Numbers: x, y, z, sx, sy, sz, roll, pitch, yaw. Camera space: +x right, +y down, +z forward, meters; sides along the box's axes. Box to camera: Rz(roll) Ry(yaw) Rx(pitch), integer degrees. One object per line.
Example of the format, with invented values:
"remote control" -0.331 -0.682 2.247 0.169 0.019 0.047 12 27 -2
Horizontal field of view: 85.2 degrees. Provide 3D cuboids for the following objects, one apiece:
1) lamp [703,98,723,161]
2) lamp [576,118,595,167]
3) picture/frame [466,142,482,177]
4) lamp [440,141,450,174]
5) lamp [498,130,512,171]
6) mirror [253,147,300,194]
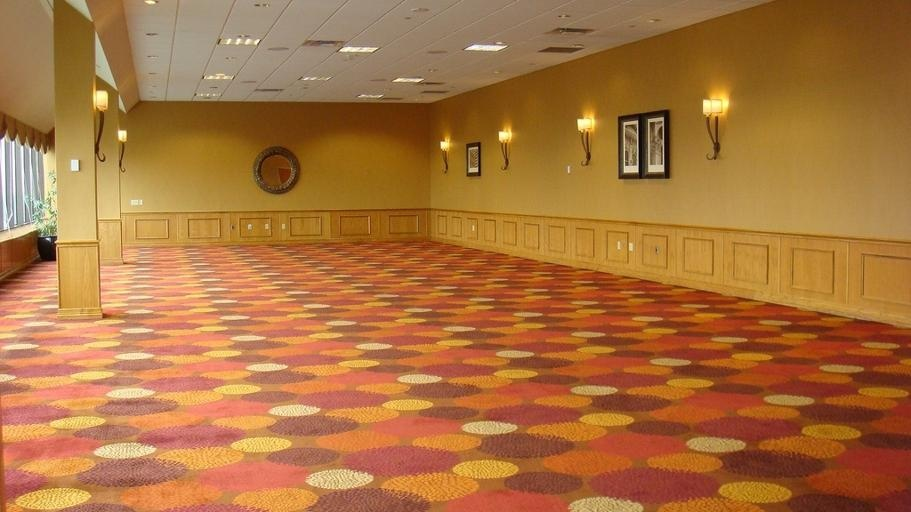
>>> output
"lamp" 5.403 -2.712 10.460 0.382 1.336 0.470 -7 10 -39
"lamp" 3.460 -3.131 13.500 0.313 1.339 0.539 -4 8 -22
"picture/frame" 0.643 -3.603 18.474 0.196 1.225 1.060 -3 8 -19
"lamp" -0.464 -4.062 20.215 0.235 1.350 0.640 -3 8 -20
"lamp" 1.615 -3.587 16.634 0.280 1.406 0.661 -4 9 -24
"mirror" -7.484 -3.566 20.432 2.183 2.006 0.242 2 1 -10
